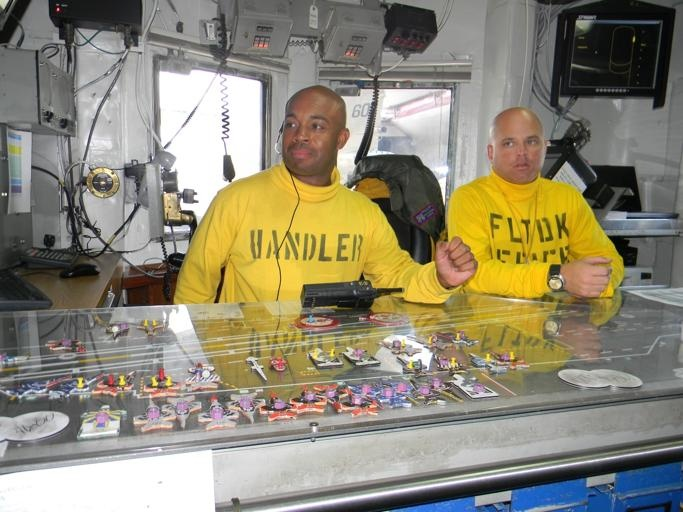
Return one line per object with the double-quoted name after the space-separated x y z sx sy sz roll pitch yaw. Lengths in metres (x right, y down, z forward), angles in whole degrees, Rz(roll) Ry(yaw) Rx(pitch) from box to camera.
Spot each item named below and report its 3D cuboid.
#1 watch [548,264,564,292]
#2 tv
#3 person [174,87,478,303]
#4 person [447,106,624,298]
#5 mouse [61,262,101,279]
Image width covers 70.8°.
0.741 0.074 1.651 0.052 0.077 0.078 7 13 21 "watch"
2.015 -1.516 3.566 0.698 0.447 0.088 4 2 -5 "tv"
-0.076 -0.212 1.797 1.012 0.860 0.676 4 13 11 "person"
0.909 -0.185 2.274 0.722 0.939 0.813 -19 25 -42 "person"
-1.232 0.069 2.266 0.077 0.042 0.145 5 2 40 "mouse"
